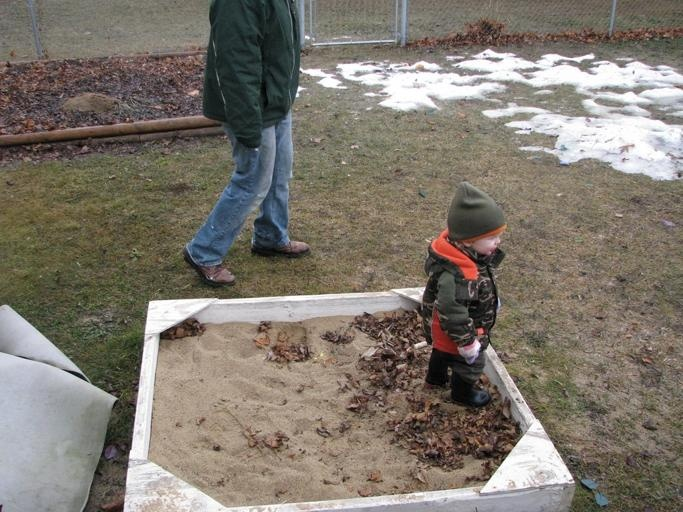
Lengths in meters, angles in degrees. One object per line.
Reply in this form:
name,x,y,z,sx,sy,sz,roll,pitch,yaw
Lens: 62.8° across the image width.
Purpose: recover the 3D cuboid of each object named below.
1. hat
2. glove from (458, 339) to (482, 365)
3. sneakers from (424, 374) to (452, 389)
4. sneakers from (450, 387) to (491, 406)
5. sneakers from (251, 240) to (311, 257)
hat,0.867,-0.285,3.478,0.410,0.302,0.334,4,21,42
glove,0.800,0.588,3.519,0.150,0.138,0.167,-5,14,-1
sneakers,0.651,0.844,3.817,0.226,0.082,0.063,-3,49,-15
sneakers,0.858,0.928,3.702,0.287,0.168,0.102,-7,36,3
sneakers,-0.530,-0.061,5.216,0.574,0.204,0.164,-3,34,-3
